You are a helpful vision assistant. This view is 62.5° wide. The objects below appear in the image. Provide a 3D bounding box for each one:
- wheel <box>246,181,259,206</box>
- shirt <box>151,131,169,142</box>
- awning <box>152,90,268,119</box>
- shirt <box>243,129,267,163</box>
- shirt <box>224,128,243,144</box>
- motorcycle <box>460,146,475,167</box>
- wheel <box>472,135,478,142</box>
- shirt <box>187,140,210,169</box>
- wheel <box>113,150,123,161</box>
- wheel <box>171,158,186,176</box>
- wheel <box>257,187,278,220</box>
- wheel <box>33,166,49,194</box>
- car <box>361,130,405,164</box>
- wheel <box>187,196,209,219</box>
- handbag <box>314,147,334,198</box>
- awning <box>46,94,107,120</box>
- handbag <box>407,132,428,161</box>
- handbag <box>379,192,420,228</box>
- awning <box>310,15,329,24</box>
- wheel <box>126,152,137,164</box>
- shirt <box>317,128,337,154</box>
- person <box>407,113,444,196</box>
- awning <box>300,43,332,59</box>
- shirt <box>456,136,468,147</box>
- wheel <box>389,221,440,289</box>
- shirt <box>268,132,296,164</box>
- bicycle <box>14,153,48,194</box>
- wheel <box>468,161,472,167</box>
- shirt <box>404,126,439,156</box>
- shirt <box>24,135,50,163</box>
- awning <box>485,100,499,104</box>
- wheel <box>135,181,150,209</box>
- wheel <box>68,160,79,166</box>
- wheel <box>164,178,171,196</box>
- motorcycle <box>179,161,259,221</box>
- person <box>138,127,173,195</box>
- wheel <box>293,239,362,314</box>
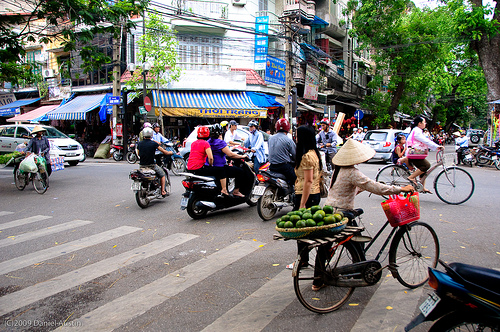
[{"bbox_3d":[0.042,0.673,10.286,0.110,0.597,0.511,9,21,30],"label":"wheel"},{"bbox_3d":[-3.396,-1.072,15.321,0.316,0.481,0.944,0,12,4],"label":"shirt"},{"bbox_3d":[-2.432,-3.732,25.090,5.996,1.561,2.336,-1,12,-2],"label":"awning"},{"bbox_3d":[0.103,-0.550,11.871,0.572,0.923,0.594,-12,17,-43],"label":"shirt"},{"bbox_3d":[-0.590,-0.998,13.964,0.375,0.422,0.745,11,19,33],"label":"shirt"},{"bbox_3d":[10.333,-0.398,19.673,0.612,0.802,1.283,0,7,20],"label":"motorcycle"},{"bbox_3d":[27.326,-3.328,50.130,0.619,0.881,1.618,6,14,28],"label":"wheel"},{"bbox_3d":[-1.222,-0.250,10.027,0.709,0.752,0.416,7,-4,34],"label":"shirt"},{"bbox_3d":[-7.202,-0.548,22.417,0.481,0.541,0.553,-4,13,-18],"label":"wheel"},{"bbox_3d":[-2.721,0.047,15.585,0.632,0.717,0.140,2,1,1],"label":"wheel"},{"bbox_3d":[0.349,0.886,9.598,0.226,0.671,0.584,6,5,44],"label":"wheel"},{"bbox_3d":[-6.452,0.458,12.665,0.777,0.779,0.158,-3,-6,21],"label":"wheel"},{"bbox_3d":[5.346,-0.733,16.413,1.330,1.231,2.466,4,13,34],"label":"car"},{"bbox_3d":[-1.245,0.967,9.705,0.164,0.476,0.466,6,13,39],"label":"wheel"},{"bbox_3d":[1.354,0.237,7.791,0.422,0.557,0.899,-3,2,16],"label":"handbag"},{"bbox_3d":[-11.308,-3.817,26.956,3.595,1.295,2.477,2,16,27],"label":"awning"},{"bbox_3d":[4.470,-0.382,10.889,0.611,0.641,0.427,1,1,8],"label":"handbag"},{"bbox_3d":[2.293,0.656,6.310,0.570,0.535,0.317,1,12,6],"label":"handbag"},{"bbox_3d":[5.395,-11.570,32.894,0.551,0.518,2.709,7,14,29],"label":"awning"},{"bbox_3d":[-6.040,-0.409,20.674,0.760,0.589,0.405,6,14,26],"label":"wheel"},{"bbox_3d":[2.873,-0.920,15.444,0.734,0.820,0.443,5,13,25],"label":"shirt"},{"bbox_3d":[4.615,-0.280,10.835,0.961,2.050,0.964,2,0,13],"label":"person"},{"bbox_3d":[4.875,-9.053,31.846,1.734,0.913,6.681,1,12,8],"label":"awning"},{"bbox_3d":[10.174,-1.151,19.754,0.479,0.454,0.493,6,14,26],"label":"shirt"},{"bbox_3d":[2.603,1.407,6.484,1.032,1.079,0.223,-6,13,-25],"label":"wheel"},{"bbox_3d":[0.706,-0.408,9.724,0.821,0.805,0.463,11,26,19],"label":"shirt"},{"bbox_3d":[-6.769,0.333,13.341,1.749,1.077,0.863,7,4,29],"label":"bicycle"},{"bbox_3d":[10.714,-0.088,20.131,0.221,0.141,0.142,-7,10,-22],"label":"wheel"},{"bbox_3d":[4.463,-0.696,10.724,0.741,0.498,0.425,-4,15,-16],"label":"shirt"},{"bbox_3d":[-6.901,-0.598,13.303,0.603,0.576,0.976,-3,2,-11],"label":"shirt"},{"bbox_3d":[12.940,-3.378,21.924,0.486,0.254,1.435,7,14,29],"label":"awning"},{"bbox_3d":[-2.826,0.762,10.774,0.168,0.738,0.655,1,-3,12],"label":"wheel"},{"bbox_3d":[-8.534,-0.132,19.843,0.458,0.211,0.414,-2,12,-9],"label":"wheel"},{"bbox_3d":[-2.377,0.574,11.818,0.119,0.370,0.372,-3,12,-13],"label":"wheel"},{"bbox_3d":[-0.637,0.460,10.460,0.979,1.467,2.668,-2,4,43],"label":"motorcycle"},{"bbox_3d":[-2.680,-0.082,11.169,0.671,1.777,0.281,-4,13,-15],"label":"person"},{"bbox_3d":[1.114,1.553,6.280,1.081,1.098,0.900,-2,12,-6],"label":"wheel"}]
